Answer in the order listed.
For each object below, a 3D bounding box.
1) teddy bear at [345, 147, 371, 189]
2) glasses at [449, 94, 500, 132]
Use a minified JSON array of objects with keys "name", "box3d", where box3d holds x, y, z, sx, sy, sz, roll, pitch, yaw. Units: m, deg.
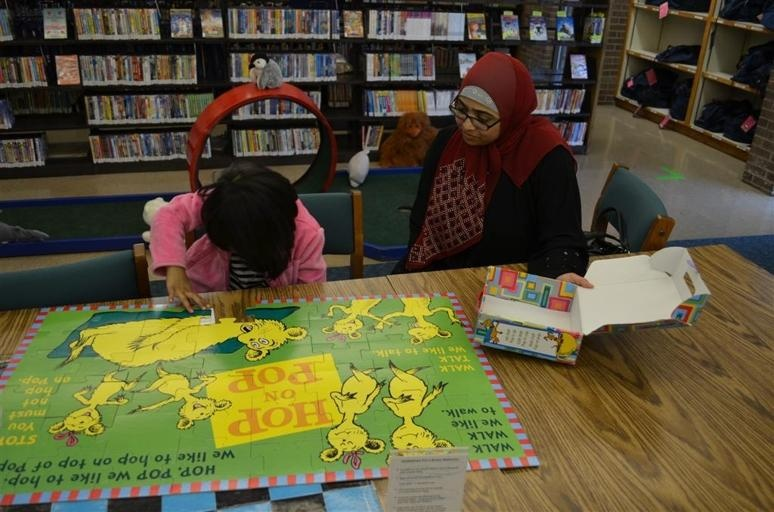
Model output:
[{"name":"teddy bear","box3d":[-0.249,-0.782,4.362,0.204,0.200,0.440,10,51,5]},{"name":"glasses","box3d":[0.357,-0.588,2.143,0.161,0.053,0.167,38,26,19]}]
